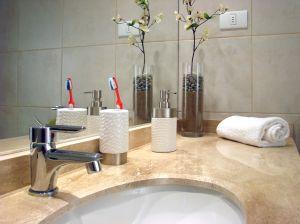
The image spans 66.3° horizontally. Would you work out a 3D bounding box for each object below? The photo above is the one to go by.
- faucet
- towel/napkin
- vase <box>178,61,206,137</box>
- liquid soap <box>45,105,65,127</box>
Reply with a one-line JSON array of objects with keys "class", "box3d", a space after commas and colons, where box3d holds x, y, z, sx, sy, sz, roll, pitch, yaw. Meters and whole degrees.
[{"class": "faucet", "box3d": [-0.208, 0.120, 0.570, 0.191, 0.173, 0.074, 2, 2, 14]}, {"class": "towel/napkin", "box3d": [0.534, 0.090, 1.244, 0.172, 0.158, 0.359, -3, 9, -43]}, {"class": "vase", "box3d": [0.264, -0.077, 1.428, 0.154, 0.450, 0.119, 5, 7, 17]}, {"class": "liquid soap", "box3d": [-0.300, 0.015, 0.711, 0.051, 0.054, 0.029, 4, 4, 40]}]
